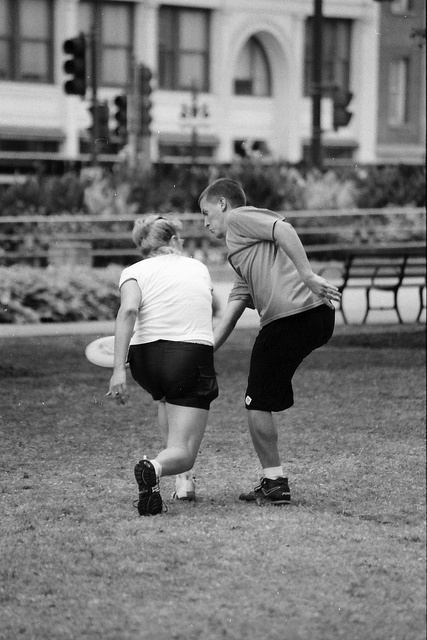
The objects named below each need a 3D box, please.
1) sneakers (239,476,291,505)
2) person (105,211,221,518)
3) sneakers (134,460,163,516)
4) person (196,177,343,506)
[{"bbox_3d":[0.157,0.480,3.363,0.174,0.091,0.062,0,-5,38],"label":"sneakers"},{"bbox_3d":[-0.131,0.124,3.199,0.280,0.792,0.295,1,7,0],"label":"person"},{"bbox_3d":[-0.178,0.448,3.138,0.051,0.178,0.072,-3,6,6],"label":"sneakers"},{"bbox_3d":[0.181,0.071,3.280,0.467,0.902,0.253,8,9,40],"label":"person"}]
